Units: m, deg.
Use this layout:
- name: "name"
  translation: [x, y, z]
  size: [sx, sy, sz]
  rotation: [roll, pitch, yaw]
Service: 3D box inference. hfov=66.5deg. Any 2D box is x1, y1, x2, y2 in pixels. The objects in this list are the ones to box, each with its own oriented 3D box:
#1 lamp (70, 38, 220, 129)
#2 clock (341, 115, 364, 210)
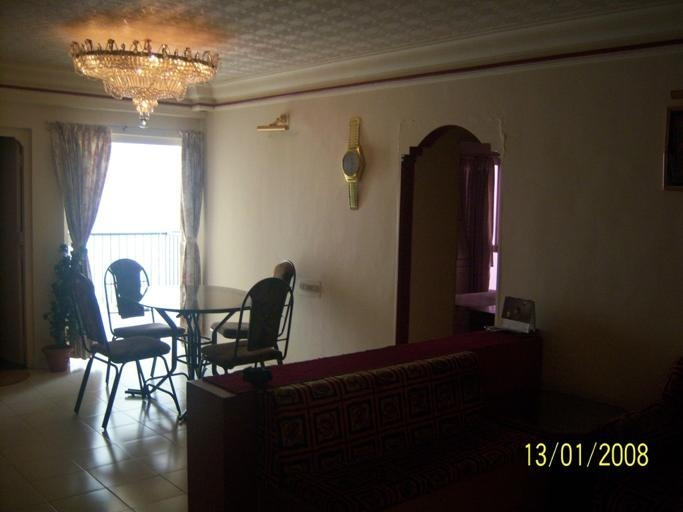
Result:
- name: "lamp"
  translation: [-1.707, -1.527, 4.596]
  size: [0.927, 0.528, 0.965]
  rotation: [2, 7, -6]
- name: "clock"
  translation: [0.106, -0.905, 5.143]
  size: [0.106, 0.895, 0.284]
  rotation: [-4, 10, -38]
